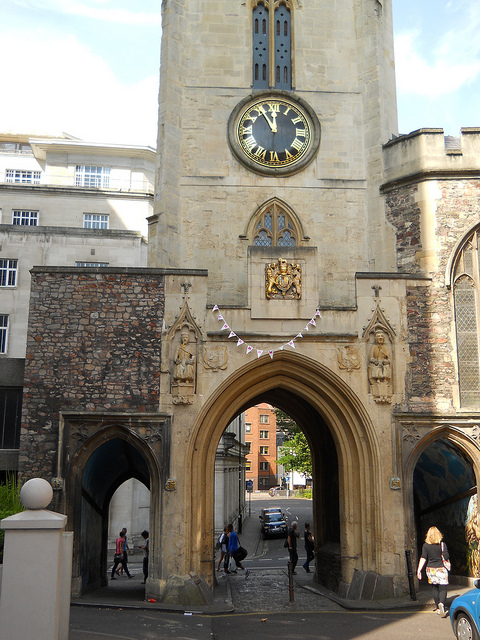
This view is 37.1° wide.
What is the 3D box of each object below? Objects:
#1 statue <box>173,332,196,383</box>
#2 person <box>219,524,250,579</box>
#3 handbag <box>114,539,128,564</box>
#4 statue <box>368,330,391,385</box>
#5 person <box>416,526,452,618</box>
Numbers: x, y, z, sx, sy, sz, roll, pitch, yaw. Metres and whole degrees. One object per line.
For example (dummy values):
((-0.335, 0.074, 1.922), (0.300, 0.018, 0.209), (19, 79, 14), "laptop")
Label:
((-1.142, 0.767, 14.798), (0.450, 1.030, 0.223), (2, -14, -8), "statue")
((-0.135, 6.131, 19.102), (0.804, 1.366, 0.429), (-3, -5, 37), "person")
((-3.331, 6.669, 20.511), (0.444, 0.602, 0.331), (3, -20, -8), "handbag")
((2.907, 0.766, 15.126), (0.457, 1.172, 0.248), (-1, -13, 5), "statue")
((3.171, 4.144, 11.763), (0.510, 1.452, 0.819), (-3, -14, 13), "person")
